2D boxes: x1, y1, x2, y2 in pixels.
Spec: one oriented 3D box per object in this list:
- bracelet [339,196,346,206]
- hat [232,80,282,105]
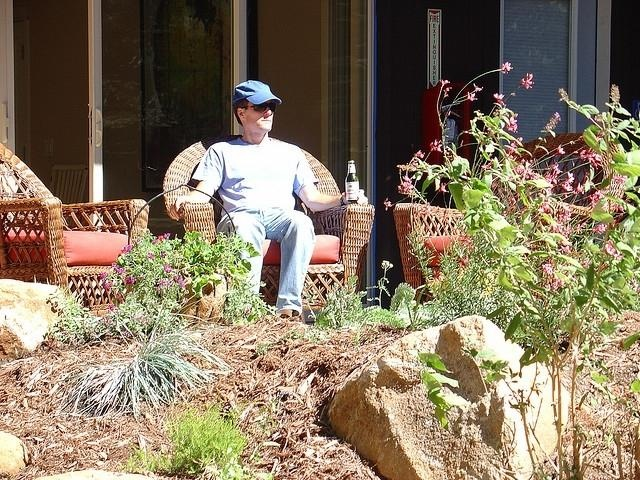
[{"bbox_3d":[0.141,-0.242,4.983,0.030,0.052,0.020,2,6,6],"label":"bracelet"},{"bbox_3d":[-0.430,-0.942,5.169,0.239,0.129,0.166,5,6,40],"label":"hat"}]
